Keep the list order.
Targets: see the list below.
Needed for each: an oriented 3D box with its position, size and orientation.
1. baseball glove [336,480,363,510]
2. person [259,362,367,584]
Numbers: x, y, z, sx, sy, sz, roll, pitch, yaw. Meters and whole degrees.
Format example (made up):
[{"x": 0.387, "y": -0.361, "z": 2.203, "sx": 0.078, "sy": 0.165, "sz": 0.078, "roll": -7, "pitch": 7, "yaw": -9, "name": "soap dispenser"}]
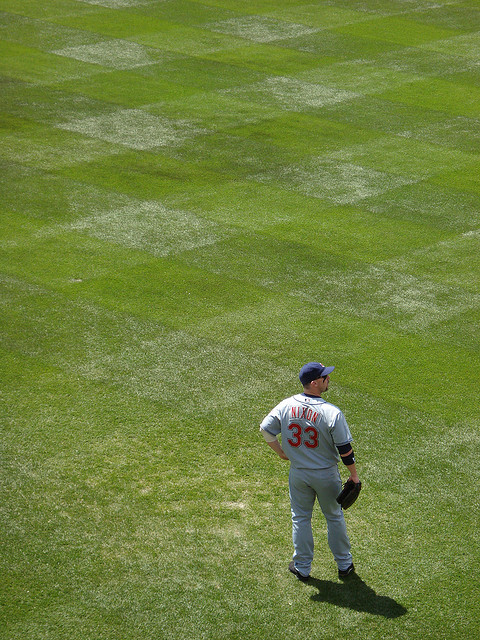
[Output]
[{"x": 1.226, "y": 1.898, "z": 18.086, "sx": 0.231, "sy": 0.321, "sz": 0.126, "roll": 39, "pitch": 5, "yaw": -8, "name": "baseball glove"}, {"x": 0.853, "y": 1.653, "z": 18.306, "sx": 1.071, "sy": 2.332, "sz": 0.907, "roll": 2, "pitch": 19, "yaw": 5, "name": "person"}]
